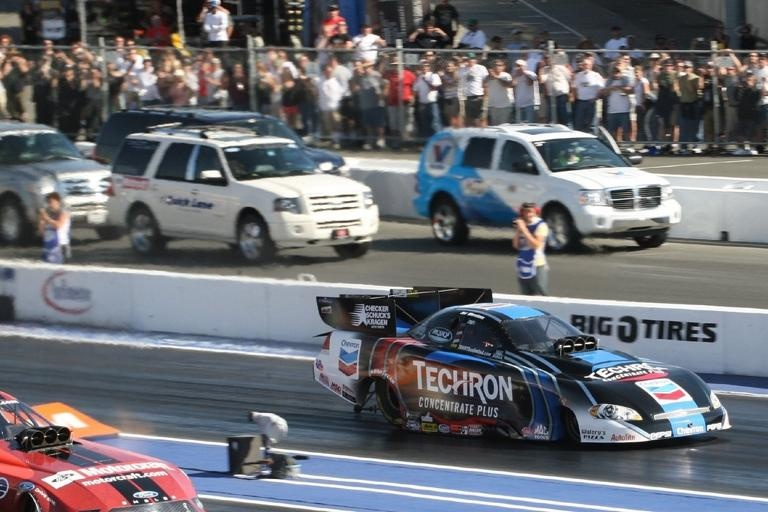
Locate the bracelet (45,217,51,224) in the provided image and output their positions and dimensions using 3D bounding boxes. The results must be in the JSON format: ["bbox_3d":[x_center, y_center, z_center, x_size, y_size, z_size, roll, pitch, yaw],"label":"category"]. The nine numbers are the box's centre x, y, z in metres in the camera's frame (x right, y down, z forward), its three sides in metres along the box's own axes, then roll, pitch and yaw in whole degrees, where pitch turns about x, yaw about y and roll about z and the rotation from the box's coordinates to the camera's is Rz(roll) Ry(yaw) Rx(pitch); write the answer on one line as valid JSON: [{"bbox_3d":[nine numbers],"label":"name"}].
[{"bbox_3d":[-6.463,-0.670,30.190,0.178,0.107,0.027,8,16,43],"label":"bracelet"}]

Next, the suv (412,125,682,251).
[{"bbox_3d":[3.131,-1.360,31.623,5.016,2.309,1.510,4,13,29],"label":"suv"}]

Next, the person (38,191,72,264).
[{"bbox_3d":[-6.336,-0.544,30.177,0.495,1.376,0.917,-4,12,-10],"label":"person"}]

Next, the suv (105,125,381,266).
[{"bbox_3d":[-2.953,-1.225,31.393,5.048,2.428,1.713,4,13,28],"label":"suv"}]

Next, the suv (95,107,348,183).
[{"bbox_3d":[-3.665,-2.313,33.523,4.551,1.302,1.995,0,5,17],"label":"suv"}]
